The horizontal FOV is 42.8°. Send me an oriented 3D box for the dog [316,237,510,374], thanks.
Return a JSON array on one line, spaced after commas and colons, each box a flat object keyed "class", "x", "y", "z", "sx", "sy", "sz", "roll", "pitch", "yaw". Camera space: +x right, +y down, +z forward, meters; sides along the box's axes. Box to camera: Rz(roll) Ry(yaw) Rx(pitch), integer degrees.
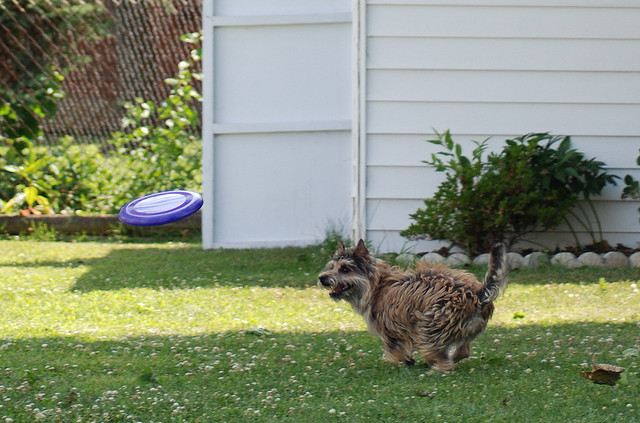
[{"class": "dog", "x": 0.969, "y": 0.849, "z": 7.330, "sx": 1.974, "sy": 0.974, "sz": 0.834, "roll": 0, "pitch": -2, "yaw": 40}]
